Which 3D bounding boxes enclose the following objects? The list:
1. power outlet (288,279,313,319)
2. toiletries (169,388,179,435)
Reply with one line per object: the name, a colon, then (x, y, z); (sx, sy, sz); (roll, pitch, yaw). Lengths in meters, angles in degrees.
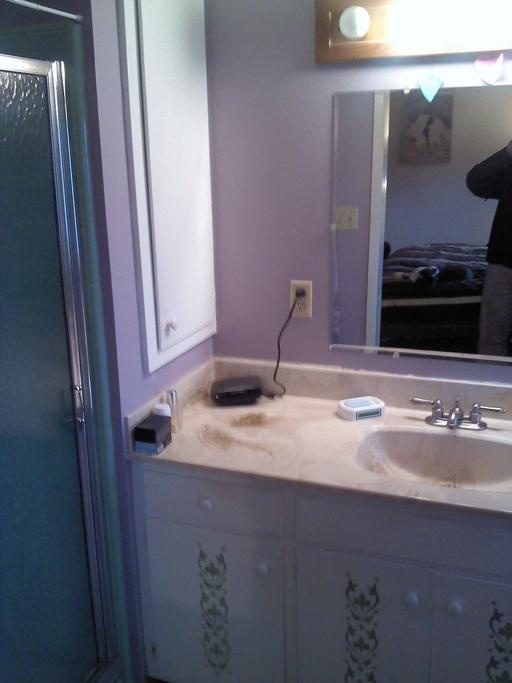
power outlet: (0.141, -0.137, 1.753); (0.079, 0.186, 0.017); (3, 15, 17)
toiletries: (-0.230, 0.197, 1.570); (0.027, 0.122, 0.013); (-3, 11, -10)
